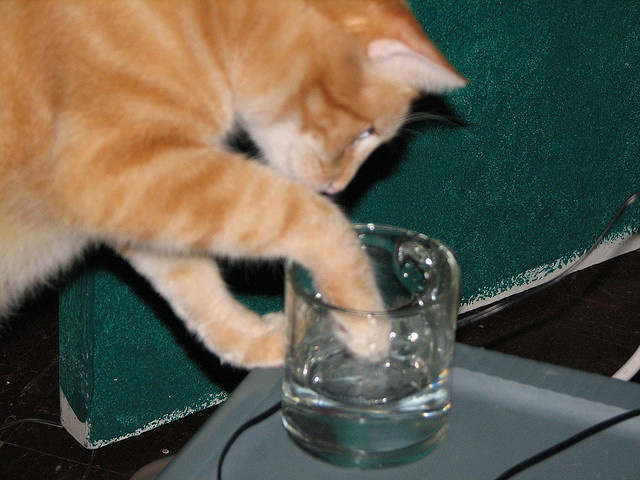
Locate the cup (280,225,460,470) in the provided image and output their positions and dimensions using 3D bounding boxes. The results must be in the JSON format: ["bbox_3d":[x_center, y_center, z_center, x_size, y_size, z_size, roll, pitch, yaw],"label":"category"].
[{"bbox_3d":[0.043,0.075,0.535,0.147,0.125,0.195,9,43,13],"label":"cup"}]
